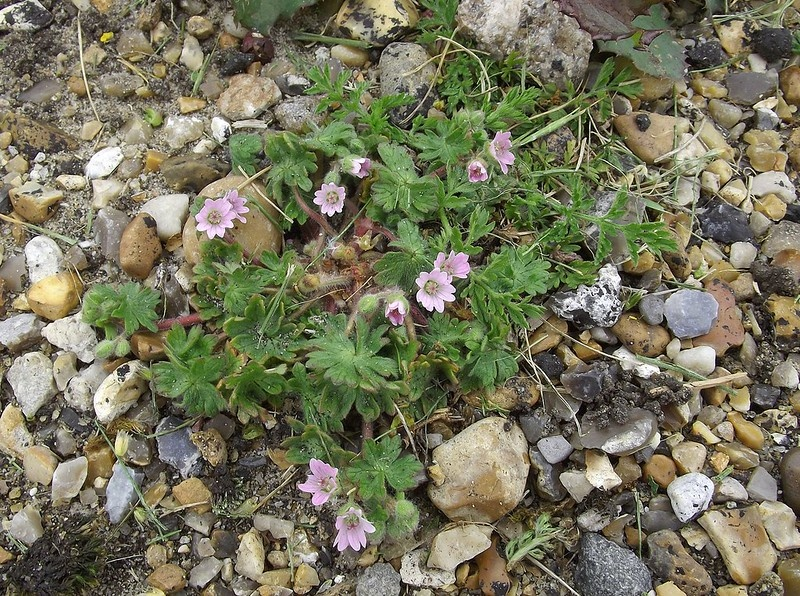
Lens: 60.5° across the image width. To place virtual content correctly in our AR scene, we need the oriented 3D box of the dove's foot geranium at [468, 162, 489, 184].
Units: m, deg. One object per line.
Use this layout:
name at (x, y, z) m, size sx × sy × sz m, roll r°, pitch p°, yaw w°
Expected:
dove's foot geranium at (0.370, -0.600, 3.267) m, size 0.091 × 0.071 × 0.042 m, roll 33°, pitch 36°, yaw -23°

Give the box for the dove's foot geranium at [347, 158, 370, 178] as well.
dove's foot geranium at (-0.198, -0.629, 3.324) m, size 0.088 × 0.080 × 0.053 m, roll -44°, pitch 36°, yaw -10°

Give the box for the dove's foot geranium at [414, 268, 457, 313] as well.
dove's foot geranium at (0.163, -0.037, 3.115) m, size 0.166 × 0.106 × 0.183 m, roll -2°, pitch 78°, yaw 2°

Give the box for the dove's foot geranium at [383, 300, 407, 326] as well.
dove's foot geranium at (-0.017, 0.065, 3.107) m, size 0.111 × 0.085 × 0.053 m, roll 59°, pitch 20°, yaw -26°

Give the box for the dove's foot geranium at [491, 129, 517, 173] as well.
dove's foot geranium at (0.489, -0.707, 3.293) m, size 0.153 × 0.179 × 0.069 m, roll 15°, pitch 3°, yaw -37°
